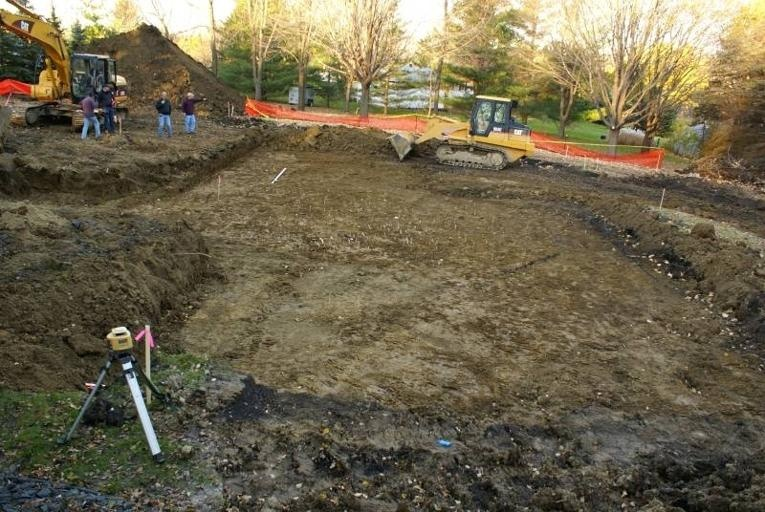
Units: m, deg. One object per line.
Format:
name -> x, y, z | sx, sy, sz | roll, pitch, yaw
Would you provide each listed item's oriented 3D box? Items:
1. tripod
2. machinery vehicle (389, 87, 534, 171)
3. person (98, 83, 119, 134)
tripod -> -3.646, 1.979, 8.097 | 1.428, 1.328, 1.324 | 6, 19, 3
machinery vehicle -> 3.228, -5.025, 21.888 | 5.472, 2.254, 2.694 | 6, 26, 8
person -> -9.031, -4.808, 18.146 | 0.426, 1.421, 0.926 | -5, 22, -28
